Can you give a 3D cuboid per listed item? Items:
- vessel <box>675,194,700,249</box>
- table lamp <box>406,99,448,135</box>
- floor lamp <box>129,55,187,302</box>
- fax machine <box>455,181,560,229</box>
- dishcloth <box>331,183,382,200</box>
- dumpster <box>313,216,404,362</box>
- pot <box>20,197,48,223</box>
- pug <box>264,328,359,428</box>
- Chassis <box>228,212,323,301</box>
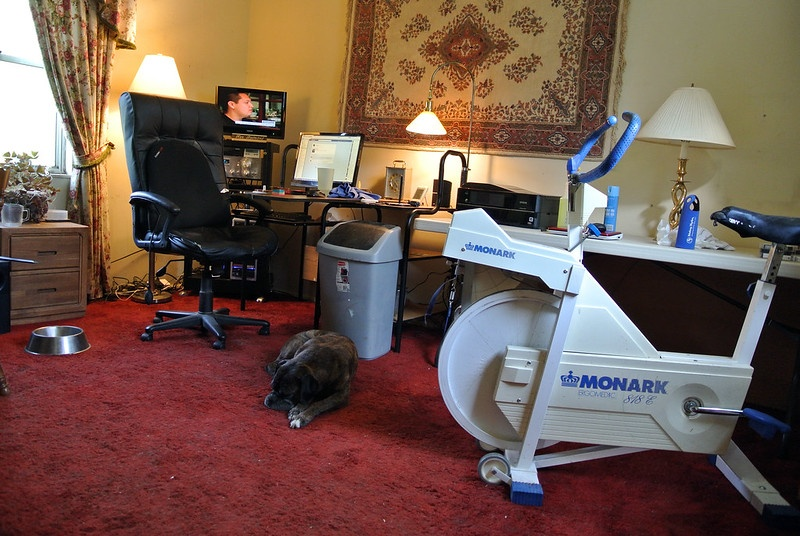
[{"bbox_3d":[1.559,-0.247,3.013,0.091,0.285,0.088,6,-29,21],"label":"vessel"},{"bbox_3d":[0.184,-1.068,3.999,0.257,0.277,0.278,2,6,-1],"label":"table lamp"},{"bbox_3d":[-1.710,-0.698,4.196,0.465,1.976,0.479,-4,13,-30],"label":"floor lamp"},{"bbox_3d":[0.714,-0.419,3.653,0.624,0.217,0.345,14,14,42],"label":"fax machine"},{"bbox_3d":[-0.333,-0.530,3.983,0.201,0.072,0.201,2,2,-29],"label":"dishcloth"},{"bbox_3d":[-0.308,0.106,3.702,0.532,0.853,0.544,-3,8,-16],"label":"dumpster"},{"bbox_3d":[-2.405,-0.386,3.709,0.120,0.136,0.155,14,-7,-28],"label":"pot"},{"bbox_3d":[-0.455,0.551,3.057,0.472,0.424,0.421,8,8,10],"label":"pug"},{"bbox_3d":[-0.939,-0.098,4.257,0.339,0.621,0.660,12,12,34],"label":"Chassis"}]
